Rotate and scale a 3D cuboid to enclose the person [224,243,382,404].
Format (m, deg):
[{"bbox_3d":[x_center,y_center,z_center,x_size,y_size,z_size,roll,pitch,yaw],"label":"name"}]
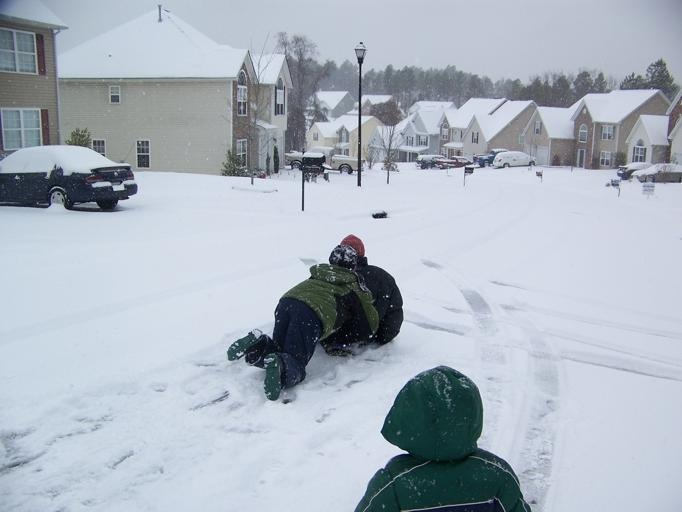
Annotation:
[{"bbox_3d":[-0.377,0.761,7.664,0.680,1.515,2.044,14,19,43],"label":"person"}]

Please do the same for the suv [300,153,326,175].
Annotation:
[{"bbox_3d":[-1.595,-5.574,35.440,1.245,1.259,4.111,2,16,-1],"label":"suv"}]

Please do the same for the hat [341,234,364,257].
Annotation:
[{"bbox_3d":[0.193,-0.163,8.616,0.242,0.374,0.131,-20,-5,1],"label":"hat"}]

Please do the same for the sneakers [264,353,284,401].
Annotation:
[{"bbox_3d":[-0.800,1.414,7.077,0.179,0.571,0.211,-3,-8,2],"label":"sneakers"}]

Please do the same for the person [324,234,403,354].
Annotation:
[{"bbox_3d":[0.454,0.565,8.448,0.465,1.733,1.088,5,0,-43],"label":"person"}]

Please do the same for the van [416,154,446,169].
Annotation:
[{"bbox_3d":[8.356,-8.915,55.012,1.959,1.211,1.408,-10,23,0],"label":"van"}]

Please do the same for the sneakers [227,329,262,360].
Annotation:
[{"bbox_3d":[-1.195,1.089,7.305,0.489,0.163,0.239,-39,45,-12],"label":"sneakers"}]
